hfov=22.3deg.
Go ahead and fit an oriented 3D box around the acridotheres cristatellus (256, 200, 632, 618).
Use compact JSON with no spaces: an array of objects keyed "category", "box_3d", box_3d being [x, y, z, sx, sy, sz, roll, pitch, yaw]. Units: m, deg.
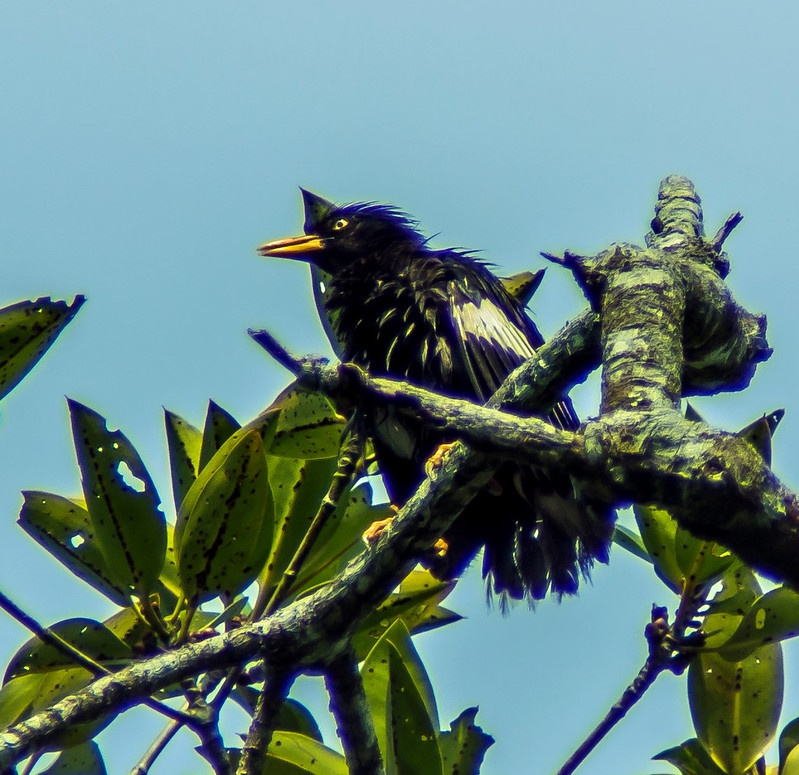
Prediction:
[{"category":"acridotheres cristatellus","box_3d":[0.097,0.137,4.361,0.639,0.878,0.402,-12,-49,14]}]
